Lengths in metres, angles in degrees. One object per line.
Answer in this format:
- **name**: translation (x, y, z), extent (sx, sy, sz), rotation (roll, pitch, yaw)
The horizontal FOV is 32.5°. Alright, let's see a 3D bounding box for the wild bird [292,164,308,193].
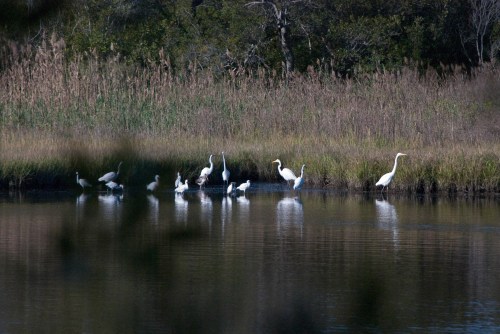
- **wild bird**: translation (1.690, 0.435, 28.179), extent (0.266, 0.580, 0.794), rotation (15, -18, -4)

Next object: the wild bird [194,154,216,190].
- **wild bird**: translation (-1.548, 0.140, 29.986), extent (0.564, 1.250, 1.640), rotation (0, 15, -1)

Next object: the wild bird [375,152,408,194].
- **wild bird**: translation (4.608, 0.124, 28.390), extent (0.754, 1.313, 1.723), rotation (4, 15, 13)
